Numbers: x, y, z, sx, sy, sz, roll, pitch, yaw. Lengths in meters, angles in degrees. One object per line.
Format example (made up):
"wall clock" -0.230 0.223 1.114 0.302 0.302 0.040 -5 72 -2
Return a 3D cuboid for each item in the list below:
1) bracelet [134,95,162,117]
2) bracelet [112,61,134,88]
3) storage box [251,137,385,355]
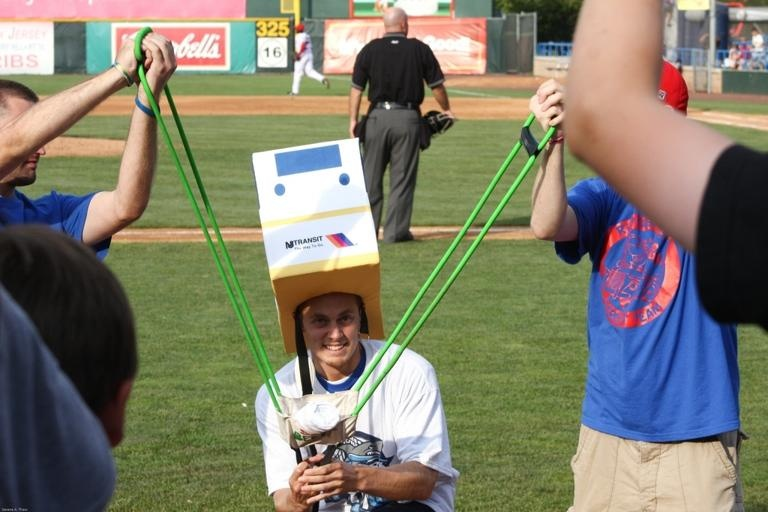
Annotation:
"bracelet" -1.085 -0.710 5.925 0.098 0.135 0.035 31 77 14
"bracelet" -1.182 -0.833 5.912 0.037 0.104 0.078 -45 51 -6
"storage box" -0.294 -0.024 6.124 0.564 0.600 1.033 -5 41 -6
